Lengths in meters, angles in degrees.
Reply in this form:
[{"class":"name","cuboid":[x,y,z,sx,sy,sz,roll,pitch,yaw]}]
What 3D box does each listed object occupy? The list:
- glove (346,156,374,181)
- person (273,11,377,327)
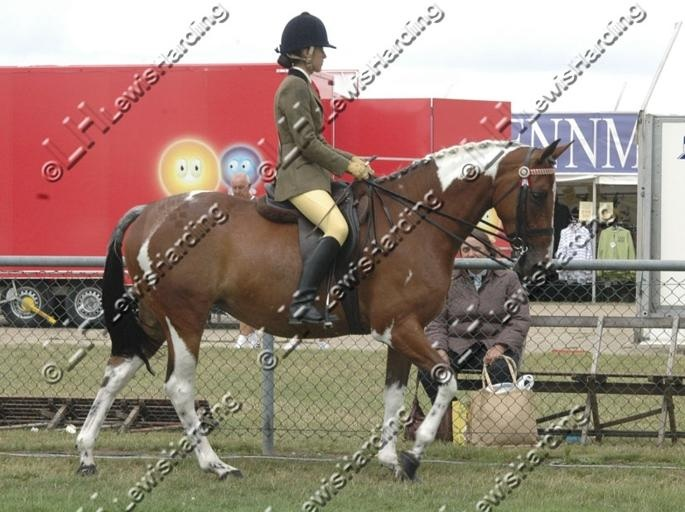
[{"class":"glove","cuboid":[0.178,-1.065,18.401,0.307,0.246,0.130,32,-16,-37]},{"class":"person","cuboid":[-0.389,-1.087,18.313,1.065,3.714,0.884,8,8,44]}]
